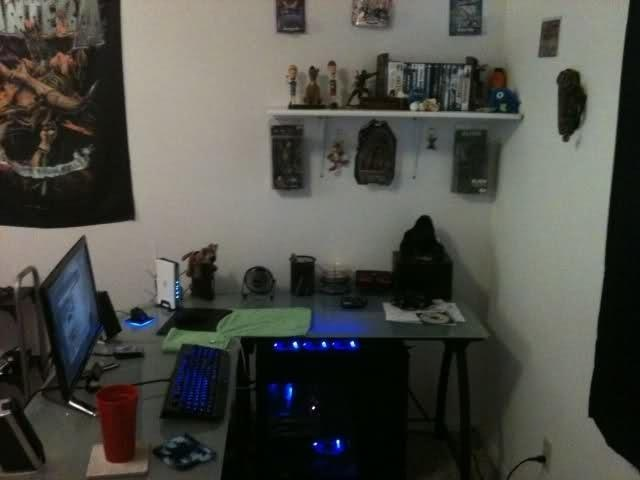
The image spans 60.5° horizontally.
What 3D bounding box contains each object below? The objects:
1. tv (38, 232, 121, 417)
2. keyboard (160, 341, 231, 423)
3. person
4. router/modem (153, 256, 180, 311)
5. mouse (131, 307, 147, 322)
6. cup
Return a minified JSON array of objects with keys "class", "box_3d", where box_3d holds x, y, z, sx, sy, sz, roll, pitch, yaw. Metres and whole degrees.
[{"class":"tv","box_3d":[-1.086,0.377,2.447,0.161,0.518,0.500,-3,47,-11]},{"class":"keyboard","box_3d":[-0.522,0.615,2.398,0.174,0.064,0.342,1,23,-8]},{"class":"person","box_3d":[0.446,-0.939,3.281,1.020,0.344,0.317,-3,13,-6]},{"class":"router/modem","box_3d":[-0.890,0.257,3.190,0.261,0.349,0.107,3,4,35]},{"class":"mouse","box_3d":[-1.001,0.406,3.018,0.082,0.034,0.064,12,17,36]},{"class":"cup","box_3d":[-0.721,0.648,1.972,0.135,0.279,0.184,-7,13,-24]}]
